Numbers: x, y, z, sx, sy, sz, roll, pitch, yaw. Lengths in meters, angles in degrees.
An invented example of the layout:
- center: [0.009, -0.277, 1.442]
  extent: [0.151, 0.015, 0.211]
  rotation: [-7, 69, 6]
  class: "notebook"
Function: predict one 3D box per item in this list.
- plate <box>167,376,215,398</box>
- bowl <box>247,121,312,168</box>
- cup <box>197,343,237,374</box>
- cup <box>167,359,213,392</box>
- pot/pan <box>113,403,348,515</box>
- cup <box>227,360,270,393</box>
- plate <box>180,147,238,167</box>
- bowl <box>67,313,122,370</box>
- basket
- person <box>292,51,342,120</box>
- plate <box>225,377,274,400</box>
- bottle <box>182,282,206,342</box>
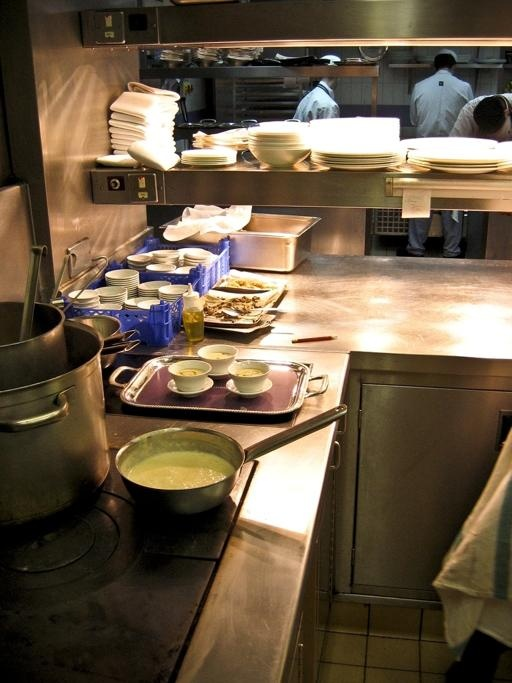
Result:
- center: [-0.159, 0.110, 1.336]
  extent: [0.116, 0.030, 0.109]
  rotation: [-7, 19, -11]
  class: "plate"
- center: [0.079, -0.641, 1.793]
  extent: [0.198, 0.137, 0.176]
  rotation: [3, 20, 18]
  class: "bowl"
- center: [-0.107, 0.037, 1.441]
  extent: [0.085, 0.048, 0.081]
  rotation: [0, 23, 0]
  class: "cup"
- center: [-0.166, 0.078, 1.327]
  extent: [0.084, 0.045, 0.080]
  rotation: [0, 22, 0]
  class: "cup"
- center: [-0.047, 0.178, 0.876]
  extent: [0.335, 0.083, 0.158]
  rotation: [-7, 20, -28]
  class: "pot/pan"
- center: [-0.017, 0.081, 1.323]
  extent: [0.083, 0.047, 0.079]
  rotation: [0, 22, 0]
  class: "cup"
- center: [-0.173, -0.640, 1.905]
  extent: [0.196, 0.064, 0.164]
  rotation: [0, 19, 8]
  class: "plate"
- center: [-0.325, -0.001, 1.098]
  extent: [0.117, 0.087, 0.129]
  rotation: [5, 19, 11]
  class: "bowl"
- center: [-0.304, -0.213, 1.833]
  extent: [0.273, 0.122, 0.594]
  rotation: [3, 24, 11]
  class: "basket"
- center: [0.564, -2.301, 5.146]
  extent: [0.397, 0.413, 0.709]
  rotation: [-2, 19, 5]
  class: "person"
- center: [-0.016, 0.110, 1.313]
  extent: [0.114, 0.032, 0.079]
  rotation: [-4, 19, -4]
  class: "plate"
- center: [-0.196, -0.087, 1.674]
  extent: [0.065, 0.177, 0.098]
  rotation: [-6, 20, -7]
  class: "bottle"
